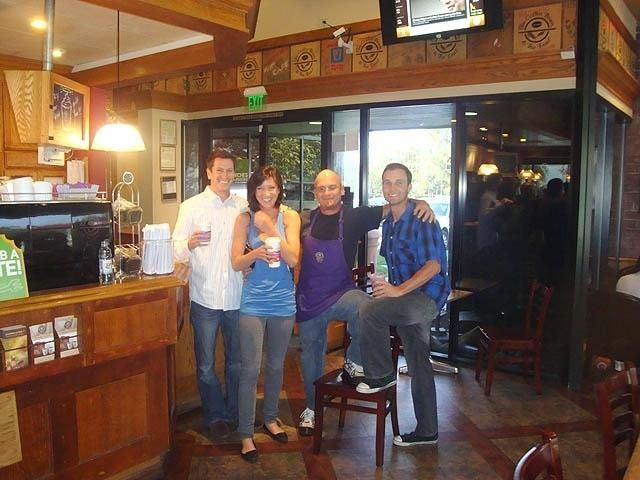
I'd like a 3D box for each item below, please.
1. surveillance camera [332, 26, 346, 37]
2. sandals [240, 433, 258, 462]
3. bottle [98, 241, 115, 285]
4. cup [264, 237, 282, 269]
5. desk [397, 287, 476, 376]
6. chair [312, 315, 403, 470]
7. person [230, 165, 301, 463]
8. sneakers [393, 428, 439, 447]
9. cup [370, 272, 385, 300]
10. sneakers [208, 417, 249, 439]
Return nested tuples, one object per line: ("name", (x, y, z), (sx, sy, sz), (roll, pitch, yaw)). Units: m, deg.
("surveillance camera", (0.234, -2.443, 5.828), (0.163, 0.110, 0.100), (1, 10, 2))
("sandals", (-0.538, 1.592, 3.745), (0.079, 0.063, 0.217), (3, -1, -20))
("bottle", (-1.452, 0.147, 3.314), (0.099, 0.277, 0.187), (-4, 12, -25))
("cup", (-0.344, 0.100, 3.516), (0.110, 0.231, 0.106), (1, 10, 0))
("desk", (1.268, 0.984, 5.640), (0.902, 0.929, 0.914), (1, 1, 9))
("chair", (0.311, 1.111, 3.966), (0.646, 1.094, 0.678), (1, 3, 14))
("person", (-0.432, 0.549, 3.819), (0.524, 2.183, 0.597), (1, 10, -2))
("sneakers", (0.770, 1.575, 4.007), (0.368, 0.150, 0.138), (2, -3, 2))
("cup", (0.429, 0.341, 3.667), (0.097, 0.216, 0.207), (2, 10, 7))
("sneakers", (-0.770, 1.572, 4.080), (0.344, 0.139, 0.158), (7, 5, 39))
